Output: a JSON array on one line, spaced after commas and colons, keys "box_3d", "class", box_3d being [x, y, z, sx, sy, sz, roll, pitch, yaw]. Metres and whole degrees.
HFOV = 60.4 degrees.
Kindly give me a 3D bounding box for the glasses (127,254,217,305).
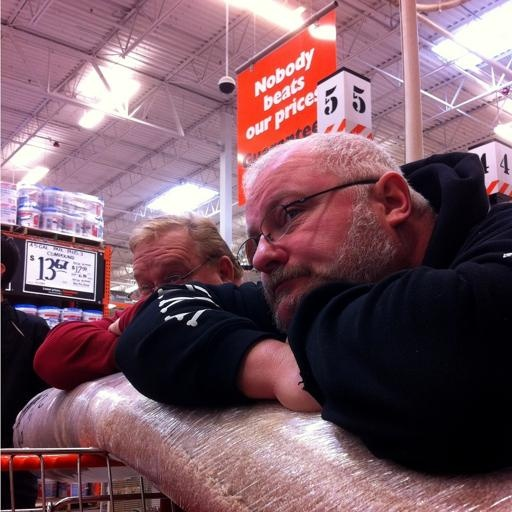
[{"box_3d": [-0.310, 0.046, 1.672, 0.099, 0.228, 0.176, 53, -22, -22], "class": "glasses"}]
